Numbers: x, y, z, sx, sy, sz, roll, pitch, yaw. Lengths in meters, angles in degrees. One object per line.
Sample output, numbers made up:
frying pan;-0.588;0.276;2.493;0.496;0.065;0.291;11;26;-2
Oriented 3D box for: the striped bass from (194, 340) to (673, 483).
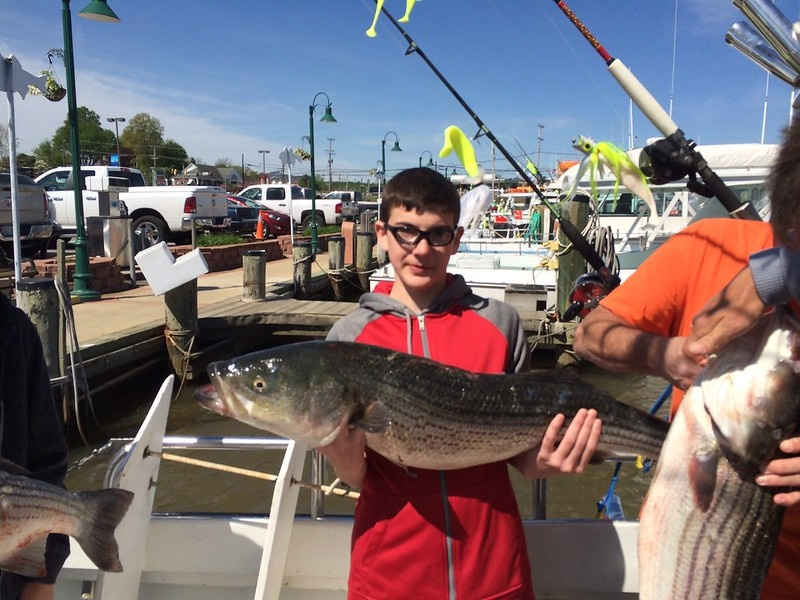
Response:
striped bass;0.089;0.377;2.591;1.576;0.453;0.177;-1;11;-3
